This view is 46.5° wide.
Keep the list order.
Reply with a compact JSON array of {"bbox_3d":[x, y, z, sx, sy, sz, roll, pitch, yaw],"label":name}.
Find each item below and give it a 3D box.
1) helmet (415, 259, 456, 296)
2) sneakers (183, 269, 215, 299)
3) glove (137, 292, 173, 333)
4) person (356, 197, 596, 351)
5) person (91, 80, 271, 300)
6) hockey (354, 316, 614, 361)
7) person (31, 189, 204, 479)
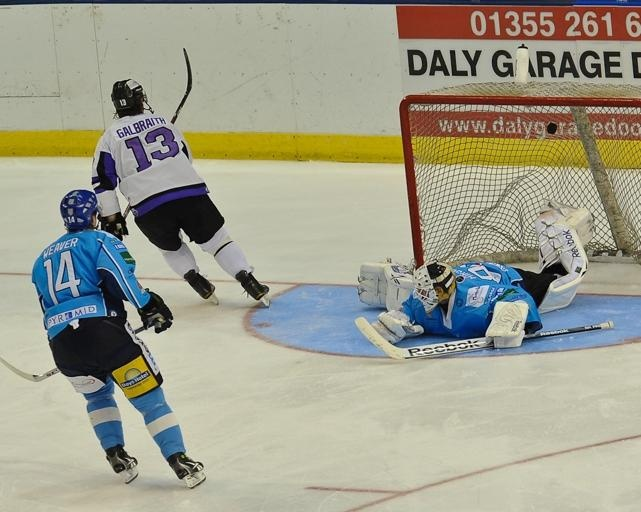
[{"bbox_3d":[0.625,0.118,4.168,0.229,0.151,0.153,9,22,1],"label":"helmet"},{"bbox_3d":[-0.837,0.201,5.186,0.137,0.255,0.090,-47,6,45],"label":"sneakers"},{"bbox_3d":[-0.663,0.231,3.086,0.131,0.187,0.080,8,54,19],"label":"glove"},{"bbox_3d":[1.024,0.036,4.571,0.846,0.358,1.331,8,16,43],"label":"person"},{"bbox_3d":[-1.167,-0.364,5.325,1.014,1.715,0.545,-30,-5,-15],"label":"person"},{"bbox_3d":[0.883,0.461,4.136,0.940,0.111,0.124,-7,-13,-16],"label":"hockey"},{"bbox_3d":[-0.794,0.328,3.002,0.668,1.182,0.407,3,14,40],"label":"person"}]
